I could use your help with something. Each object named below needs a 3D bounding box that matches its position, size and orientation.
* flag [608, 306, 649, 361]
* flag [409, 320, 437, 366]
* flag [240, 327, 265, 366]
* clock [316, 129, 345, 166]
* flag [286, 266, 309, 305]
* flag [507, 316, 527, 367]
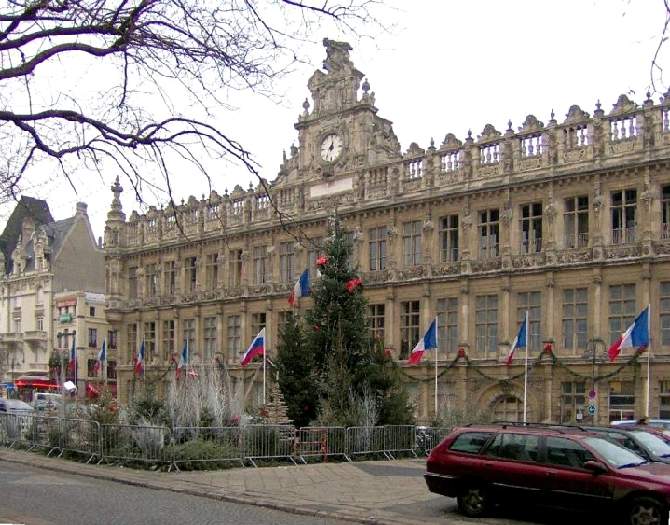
[{"bbox_3d":[12.475,3.011,42.413,1.938,2.267,0.218,-15,31,-10],"label":"flag"},{"bbox_3d":[4.535,4.106,50.575,0.297,2.554,2.237,9,-9,-29],"label":"flag"},{"bbox_3d":[-4.089,4.217,50.099,1.492,1.557,0.125,-12,-16,37],"label":"flag"},{"bbox_3d":[-0.176,-6.706,58.554,2.043,2.127,0.153,-23,32,-30],"label":"clock"},{"bbox_3d":[-1.992,1.334,54.767,0.307,1.848,1.655,18,-33,-33],"label":"flag"},{"bbox_3d":[8.575,3.629,47.048,1.017,2.099,2.813,-2,-12,8],"label":"flag"}]
